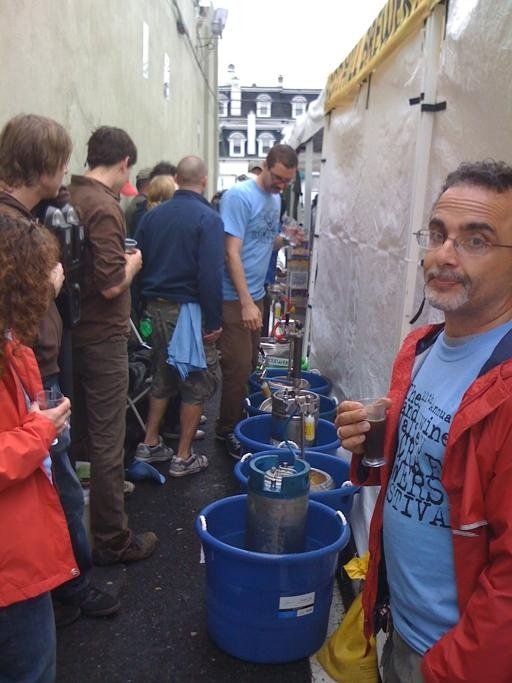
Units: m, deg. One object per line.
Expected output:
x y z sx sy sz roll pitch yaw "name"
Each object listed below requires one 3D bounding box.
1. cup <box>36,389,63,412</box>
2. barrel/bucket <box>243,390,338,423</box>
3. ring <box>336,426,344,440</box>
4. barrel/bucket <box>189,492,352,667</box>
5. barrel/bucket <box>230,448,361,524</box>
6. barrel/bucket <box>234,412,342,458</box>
-0.536 0.151 1.496 0.050 0.060 0.060 3 4 -6 "cup"
0.211 0.403 3.541 0.373 0.183 0.392 1 0 0 "barrel/bucket"
0.220 0.242 1.515 0.026 0.029 0.020 -1 1 -44 "ring"
0.078 0.925 2.332 0.579 0.497 0.617 3 -5 0 "barrel/bucket"
0.366 0.720 2.983 0.581 0.268 0.609 4 6 0 "barrel/bucket"
0.182 0.521 3.196 0.500 0.266 0.525 1 4 0 "barrel/bucket"
